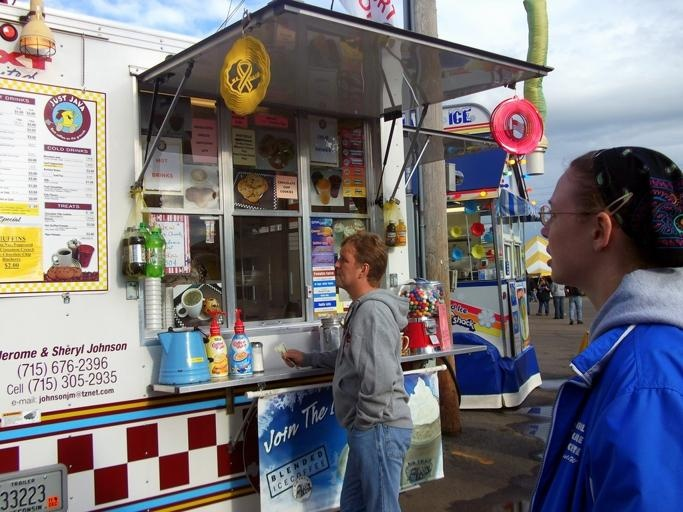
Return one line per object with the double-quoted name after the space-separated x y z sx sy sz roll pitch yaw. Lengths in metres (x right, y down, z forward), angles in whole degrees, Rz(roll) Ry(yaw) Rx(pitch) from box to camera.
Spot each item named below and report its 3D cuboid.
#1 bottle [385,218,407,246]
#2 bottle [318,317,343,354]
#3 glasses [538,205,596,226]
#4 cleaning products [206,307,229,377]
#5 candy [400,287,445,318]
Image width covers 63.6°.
0.449 -0.202 4.630 0.212 0.311 0.110 1 0 -13 "bottle"
-0.040 0.572 3.999 0.226 0.247 0.143 -2 -2 -17 "bottle"
0.558 -0.101 1.353 0.108 0.032 0.089 1 2 26 "glasses"
-0.802 0.568 3.583 0.135 0.391 0.345 -3 0 -12 "cleaning products"
0.658 0.422 4.481 0.307 0.366 0.290 0 -7 -23 "candy"
